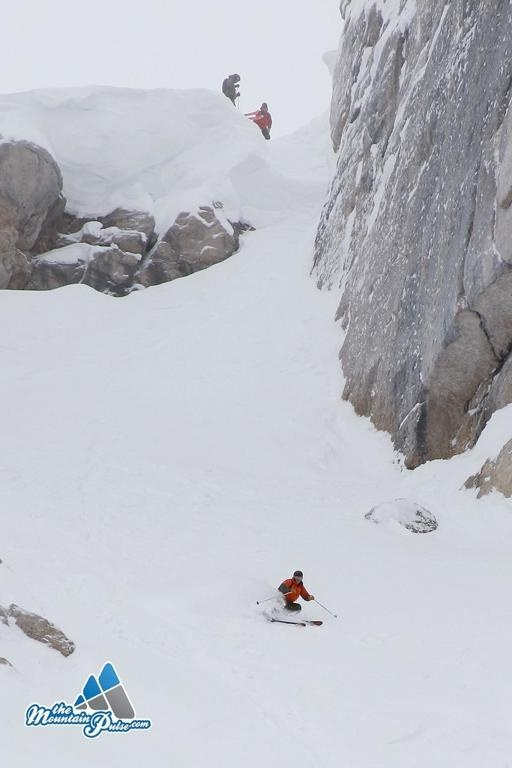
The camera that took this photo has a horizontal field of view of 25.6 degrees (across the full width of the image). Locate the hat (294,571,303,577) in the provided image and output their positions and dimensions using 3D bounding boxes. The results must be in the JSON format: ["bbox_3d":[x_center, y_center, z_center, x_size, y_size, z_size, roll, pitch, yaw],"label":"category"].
[{"bbox_3d":[0.478,2.137,12.796,0.062,0.063,0.080,1,-14,-2],"label":"hat"}]

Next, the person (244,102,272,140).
[{"bbox_3d":[0.121,-7.378,31.842,0.558,0.895,0.433,-2,28,-8],"label":"person"}]
